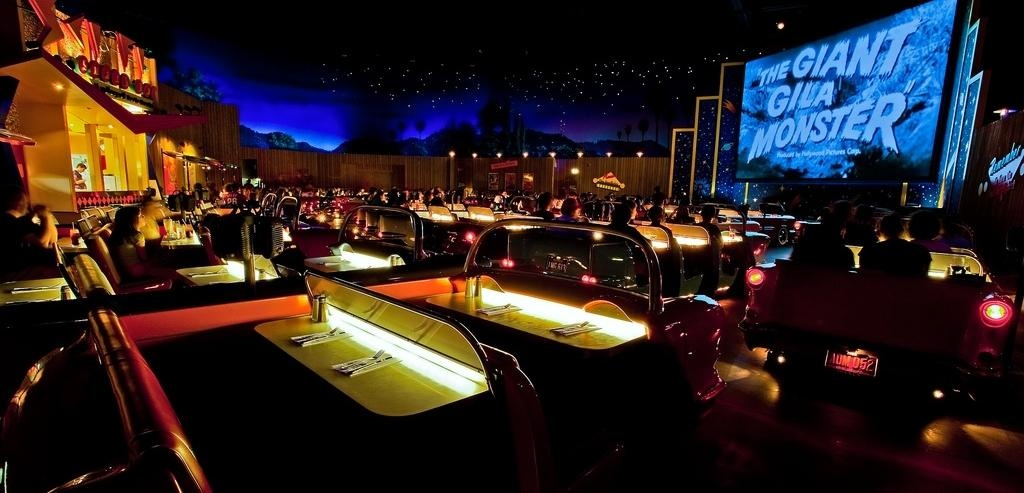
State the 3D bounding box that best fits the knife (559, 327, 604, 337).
[{"bbox_3d":[1.386,1.813,11.186,0.630,0.106,0.316,-6,20,-19],"label":"knife"}]
